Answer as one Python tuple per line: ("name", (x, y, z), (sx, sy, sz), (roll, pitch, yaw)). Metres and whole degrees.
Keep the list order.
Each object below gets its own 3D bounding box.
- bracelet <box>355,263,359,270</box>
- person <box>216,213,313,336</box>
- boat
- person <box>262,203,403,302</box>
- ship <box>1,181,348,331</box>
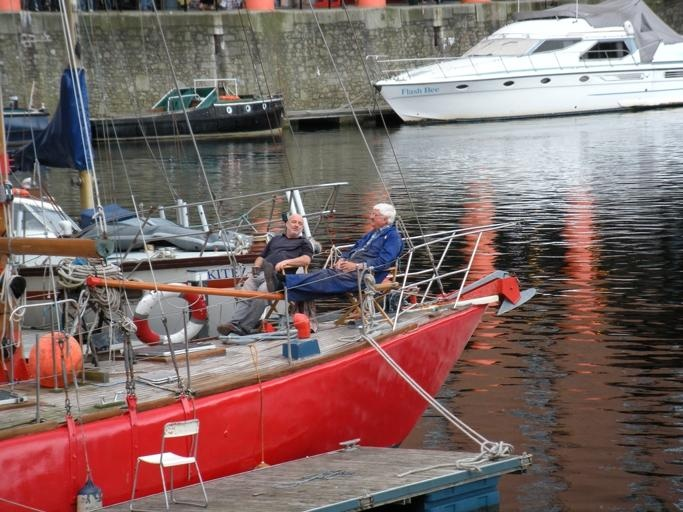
("bracelet", (0.137, 0.090, 10.150), (0.034, 0.039, 0.039), (-3, -27, 5))
("person", (-0.593, 0.220, 10.383), (0.816, 1.057, 0.789), (9, 15, 31))
("boat", (-3.930, -4.109, 32.917), (4.293, 1.899, 6.307), (-6, 7, 1))
("person", (-0.058, 0.024, 10.223), (1.435, 0.723, 0.652), (-10, 12, -32))
("ship", (-1.967, -0.139, 12.809), (3.600, 1.007, 1.037), (-2, -7, -3))
